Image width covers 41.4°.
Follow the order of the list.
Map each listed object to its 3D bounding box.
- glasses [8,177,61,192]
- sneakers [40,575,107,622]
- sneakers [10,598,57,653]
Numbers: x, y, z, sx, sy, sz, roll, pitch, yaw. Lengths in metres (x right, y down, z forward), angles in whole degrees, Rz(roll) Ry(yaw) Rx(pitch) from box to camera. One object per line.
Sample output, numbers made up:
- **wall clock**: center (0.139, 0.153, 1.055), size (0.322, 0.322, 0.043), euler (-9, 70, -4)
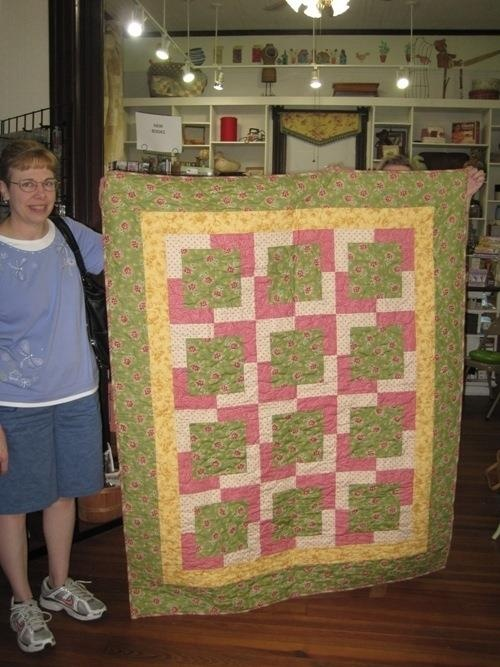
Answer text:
- **glasses**: center (-0.648, -0.454, 2.027), size (0.147, 0.049, 0.065), euler (-7, 12, -42)
- **sneakers**: center (-0.597, 0.907, 2.280), size (0.298, 0.106, 0.096), euler (5, -3, 14)
- **sneakers**: center (-0.683, 0.924, 2.063), size (0.091, 0.076, 0.208), euler (6, -11, -42)
